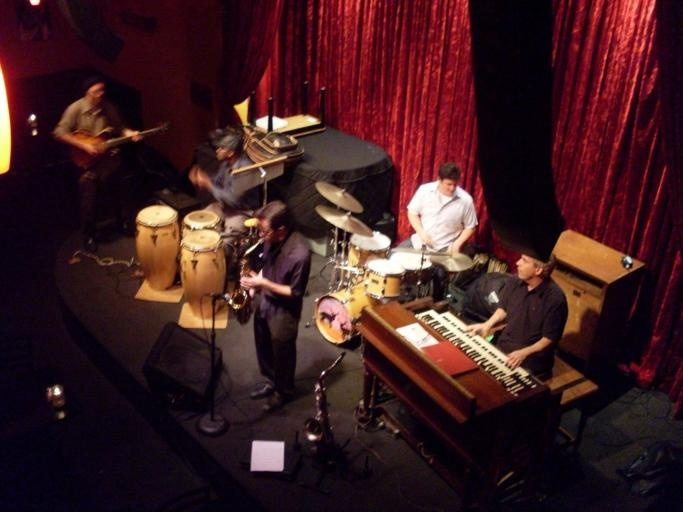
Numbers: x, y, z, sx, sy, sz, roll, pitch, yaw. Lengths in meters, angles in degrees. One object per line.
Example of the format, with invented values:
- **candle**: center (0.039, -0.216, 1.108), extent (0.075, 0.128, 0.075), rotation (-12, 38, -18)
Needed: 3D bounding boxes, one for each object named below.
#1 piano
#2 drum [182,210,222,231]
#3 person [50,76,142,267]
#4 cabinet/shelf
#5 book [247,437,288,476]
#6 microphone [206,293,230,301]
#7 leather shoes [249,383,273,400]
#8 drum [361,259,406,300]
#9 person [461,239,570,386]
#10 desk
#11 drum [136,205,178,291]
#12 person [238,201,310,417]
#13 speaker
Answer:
- **piano**: center (0.833, 1.117, 4.147), extent (0.857, 1.231, 1.389), rotation (-19, 36, -32)
- **drum**: center (-1.527, -0.390, 5.846), extent (0.269, 0.107, 0.266), rotation (2, 30, -1)
- **person**: center (-3.071, -1.185, 6.683), extent (0.920, 1.925, 0.702), rotation (-25, 38, -38)
- **cabinet/shelf**: center (2.331, 0.385, 4.863), extent (0.551, 1.084, 0.796), rotation (-23, 42, -36)
- **book**: center (-0.595, 1.609, 4.280), extent (0.261, 0.117, 0.227), rotation (1, 30, 0)
- **microphone**: center (-1.075, 0.348, 4.606), extent (0.221, 0.073, 0.178), rotation (-2, -7, 32)
- **leather shoes**: center (-0.735, 1.230, 4.897), extent (0.211, 0.078, 0.119), rotation (-26, 47, -29)
- **drum**: center (0.411, 0.180, 5.117), extent (0.333, 0.349, 0.363), rotation (7, 21, 15)
- **person**: center (1.479, 0.530, 4.408), extent (0.595, 1.228, 0.677), rotation (-10, 26, -19)
- **desk**: center (-0.706, -1.863, 6.944), extent (0.618, 0.593, 1.284), rotation (21, 35, 31)
- **drum**: center (-2.047, -0.049, 6.014), extent (0.464, 0.928, 0.321), rotation (-10, 31, -19)
- **person**: center (-0.578, 0.449, 4.519), extent (0.584, 1.839, 0.495), rotation (14, 32, 23)
- **speaker**: center (-1.422, 0.985, 4.890), extent (0.659, 0.689, 0.644), rotation (25, 2, -5)
